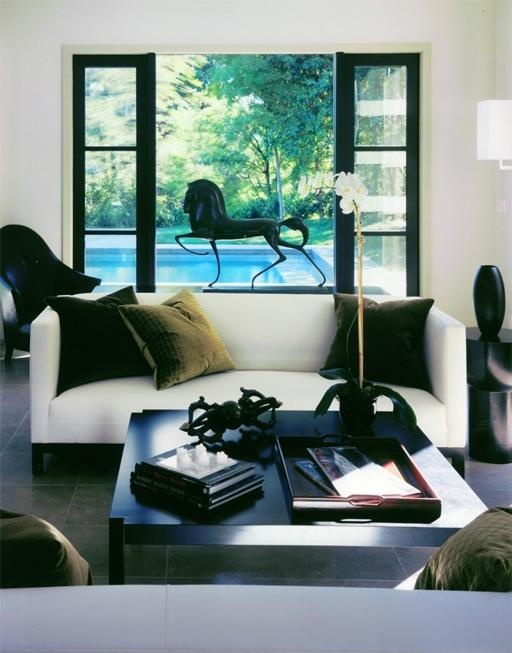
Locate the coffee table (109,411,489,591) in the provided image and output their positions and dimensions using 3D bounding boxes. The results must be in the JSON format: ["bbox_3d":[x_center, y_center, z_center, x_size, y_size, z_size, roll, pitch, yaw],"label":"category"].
[{"bbox_3d":[0.066,0.477,1.513,0.671,0.142,0.597,0,10,-1],"label":"coffee table"}]

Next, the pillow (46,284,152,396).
[{"bbox_3d":[-0.644,0.074,2.611,0.440,0.204,0.397,-14,43,-38],"label":"pillow"}]

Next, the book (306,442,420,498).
[{"bbox_3d":[0.269,0.369,1.620,0.227,0.127,0.342,0,-14,-4],"label":"book"}]

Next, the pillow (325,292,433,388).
[{"bbox_3d":[0.510,0.067,2.599,0.383,0.324,0.138,5,-17,20],"label":"pillow"}]
